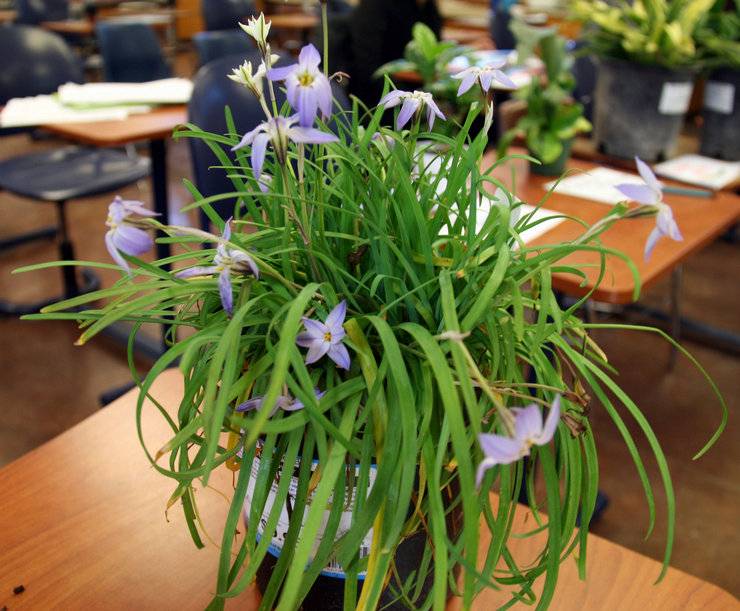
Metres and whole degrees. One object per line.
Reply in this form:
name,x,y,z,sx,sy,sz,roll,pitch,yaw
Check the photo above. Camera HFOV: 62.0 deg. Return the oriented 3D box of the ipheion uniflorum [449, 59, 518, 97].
ipheion uniflorum,0.109,-0.208,0.549,0.045,0.019,0.042,-32,35,-19
